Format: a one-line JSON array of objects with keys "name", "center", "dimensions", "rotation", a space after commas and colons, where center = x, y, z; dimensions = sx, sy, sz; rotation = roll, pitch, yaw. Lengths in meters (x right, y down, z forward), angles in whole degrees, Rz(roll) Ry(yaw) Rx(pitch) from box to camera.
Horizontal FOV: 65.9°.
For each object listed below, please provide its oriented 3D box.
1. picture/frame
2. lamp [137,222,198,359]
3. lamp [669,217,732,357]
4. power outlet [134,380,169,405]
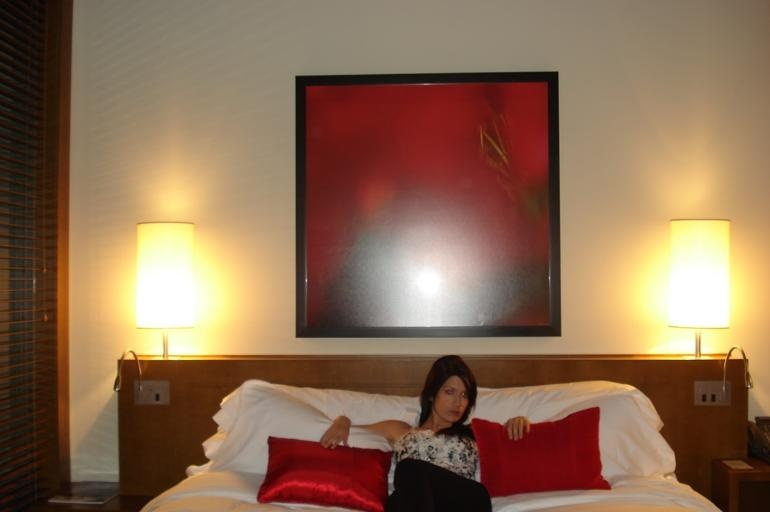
[{"name": "picture/frame", "center": [0.355, -0.282, 3.803], "dimensions": [1.691, 1.666, 0.060], "rotation": [-1, 1, -5]}, {"name": "lamp", "center": [-1.329, 0.116, 3.612], "dimensions": [0.319, 0.631, 0.099], "rotation": [1, -4, -21]}, {"name": "lamp", "center": [1.892, 0.106, 3.575], "dimensions": [0.338, 0.649, 0.076], "rotation": [-1, -4, 6]}, {"name": "power outlet", "center": [-1.433, 0.853, 3.685], "dimensions": [0.153, 0.107, 0.021], "rotation": [0, 2, 2]}]
